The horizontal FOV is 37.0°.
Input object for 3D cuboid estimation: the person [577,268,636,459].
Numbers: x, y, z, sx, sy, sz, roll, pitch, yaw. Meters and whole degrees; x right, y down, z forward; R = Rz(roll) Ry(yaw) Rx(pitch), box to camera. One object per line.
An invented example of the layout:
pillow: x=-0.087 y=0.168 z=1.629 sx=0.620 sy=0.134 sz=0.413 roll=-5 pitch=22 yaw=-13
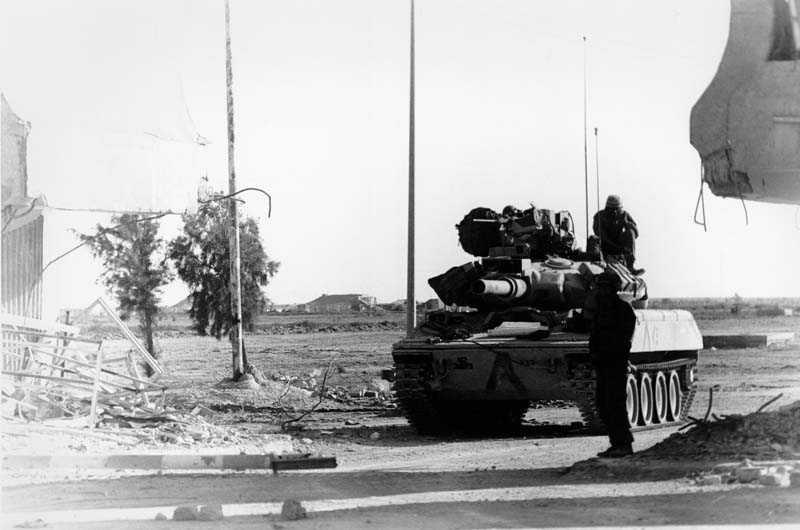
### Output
person: x=3.134 y=1.459 z=17.595 sx=0.654 sy=2.693 sz=0.396 roll=-3 pitch=-7 yaw=10

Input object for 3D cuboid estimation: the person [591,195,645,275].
person: x=3.883 y=-0.547 z=21.859 sx=0.769 sy=1.495 sz=0.990 roll=-9 pitch=12 yaw=-17

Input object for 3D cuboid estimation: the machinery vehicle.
machinery vehicle: x=2.927 y=0.955 z=21.775 sx=3.078 sy=3.638 sz=5.291 roll=-4 pitch=-8 yaw=28
